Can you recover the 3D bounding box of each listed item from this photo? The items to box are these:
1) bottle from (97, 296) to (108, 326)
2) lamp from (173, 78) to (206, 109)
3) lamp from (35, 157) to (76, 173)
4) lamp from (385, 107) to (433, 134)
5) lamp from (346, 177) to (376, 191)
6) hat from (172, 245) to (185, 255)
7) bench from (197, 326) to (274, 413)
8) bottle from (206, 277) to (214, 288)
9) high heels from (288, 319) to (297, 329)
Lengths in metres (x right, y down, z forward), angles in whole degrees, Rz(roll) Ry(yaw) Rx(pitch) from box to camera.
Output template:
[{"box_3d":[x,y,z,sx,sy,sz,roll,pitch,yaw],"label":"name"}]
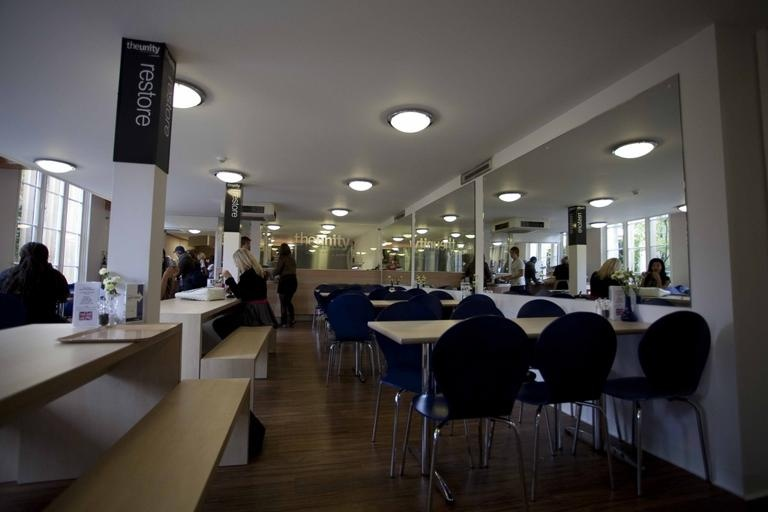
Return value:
[{"box_3d":[-2.298,0.449,4.249,0.095,0.232,0.068,0,0,27],"label":"bottle"},{"box_3d":[-2.147,-1.772,5.777,0.334,0.195,0.486,0,0,-22],"label":"lamp"},{"box_3d":[-5.387,-1.483,8.526,0.576,0.137,0.585,0,0,-17],"label":"lamp"},{"box_3d":[0.302,-1.593,6.089,0.548,0.198,0.358,0,0,2],"label":"lamp"},{"box_3d":[-0.406,-1.237,8.993,0.489,0.146,0.430,0,0,22],"label":"lamp"},{"box_3d":[-3.676,-0.102,9.296,0.230,0.118,0.173,12,7,23],"label":"hat"},{"box_3d":[-1.618,1.326,5.598,0.550,0.659,2.018,-1,-3,-6],"label":"bench"},{"box_3d":[-3.130,0.476,9.360,0.155,0.214,0.221,1,-1,-23],"label":"bottle"},{"box_3d":[-1.925,1.444,10.981,0.193,0.181,0.133,3,-4,-21],"label":"high heels"}]
